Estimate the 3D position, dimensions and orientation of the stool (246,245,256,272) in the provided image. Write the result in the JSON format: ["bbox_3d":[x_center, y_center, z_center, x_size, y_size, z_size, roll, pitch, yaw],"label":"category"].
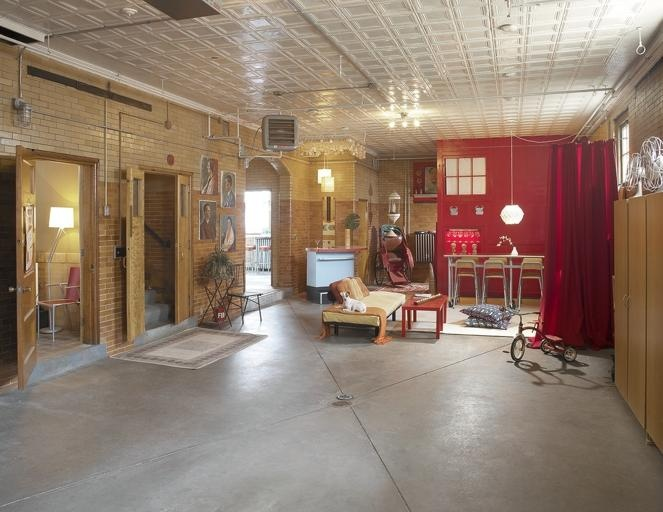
[{"bbox_3d":[-3.291,0.079,18.416,0.172,1.026,0.513,-5,7,-42],"label":"stool"}]

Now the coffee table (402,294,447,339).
[{"bbox_3d":[1.840,1.127,9.027,0.753,0.682,1.607,1,5,18],"label":"coffee table"}]

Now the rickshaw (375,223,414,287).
[{"bbox_3d":[2.230,-0.065,15.915,1.152,2.062,1.914,0,5,8],"label":"rickshaw"}]

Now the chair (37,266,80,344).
[{"bbox_3d":[-4.738,0.793,7.911,0.638,1.007,0.665,3,7,33],"label":"chair"}]

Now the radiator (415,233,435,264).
[{"bbox_3d":[3.463,-0.310,16.840,1.054,1.160,0.305,1,1,9],"label":"radiator"}]

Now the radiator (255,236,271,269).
[{"bbox_3d":[-2.831,0.112,18.382,0.571,0.843,0.575,-9,22,-15],"label":"radiator"}]

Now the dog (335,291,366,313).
[{"bbox_3d":[0.390,0.883,8.424,0.582,0.278,0.219,16,10,34],"label":"dog"}]

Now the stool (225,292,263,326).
[{"bbox_3d":[-1.891,1.186,10.460,0.622,0.602,0.695,-7,-5,-5],"label":"stool"}]

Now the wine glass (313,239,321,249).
[{"bbox_3d":[-0.467,-0.427,14.698,0.293,0.243,0.510,-2,5,-13],"label":"wine glass"}]

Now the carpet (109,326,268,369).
[{"bbox_3d":[-2.396,1.576,7.901,1.673,0.011,2.330,4,5,24],"label":"carpet"}]

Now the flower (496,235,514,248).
[{"bbox_3d":[4.637,-0.399,12.076,0.363,0.158,0.263,4,2,24],"label":"flower"}]

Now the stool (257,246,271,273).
[{"bbox_3d":[-2.716,0.111,18.193,0.595,1.003,0.353,2,6,24],"label":"stool"}]

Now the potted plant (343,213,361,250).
[{"bbox_3d":[0.677,-0.885,14.971,0.522,1.123,0.757,0,5,2],"label":"potted plant"}]

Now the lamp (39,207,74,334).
[{"bbox_3d":[-4.849,0.244,8.022,0.673,2.133,0.732,-1,3,36],"label":"lamp"}]

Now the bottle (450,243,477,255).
[{"bbox_3d":[3.607,-0.214,12.370,0.704,0.284,0.318,2,5,23],"label":"bottle"}]

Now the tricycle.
[{"bbox_3d":[3.245,1.288,7.043,0.960,0.621,0.516,-1,2,2],"label":"tricycle"}]
